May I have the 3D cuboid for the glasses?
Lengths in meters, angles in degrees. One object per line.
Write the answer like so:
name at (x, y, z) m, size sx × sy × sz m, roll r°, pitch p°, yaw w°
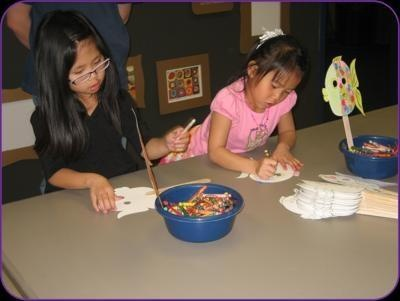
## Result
glasses at (-0.415, -0.323, 1.279) m, size 0.137 × 0.093 × 0.205 m, roll 4°, pitch 20°, yaw 28°

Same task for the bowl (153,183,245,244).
bowl at (0.006, 0.199, 0.887) m, size 0.201 × 0.074 × 0.202 m, roll -2°, pitch 3°, yaw 0°

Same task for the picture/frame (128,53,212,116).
picture/frame at (-0.241, -0.495, 2.294) m, size 0.568 × 0.422 × 0.020 m, roll -14°, pitch 21°, yaw -27°

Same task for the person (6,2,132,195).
person at (-0.892, -0.344, 2.110) m, size 0.283 × 1.068 × 0.824 m, roll 7°, pitch 15°, yaw 38°

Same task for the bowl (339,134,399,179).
bowl at (0.602, 0.041, 1.159) m, size 0.184 × 0.082 × 0.186 m, roll -5°, pitch 22°, yaw 2°
